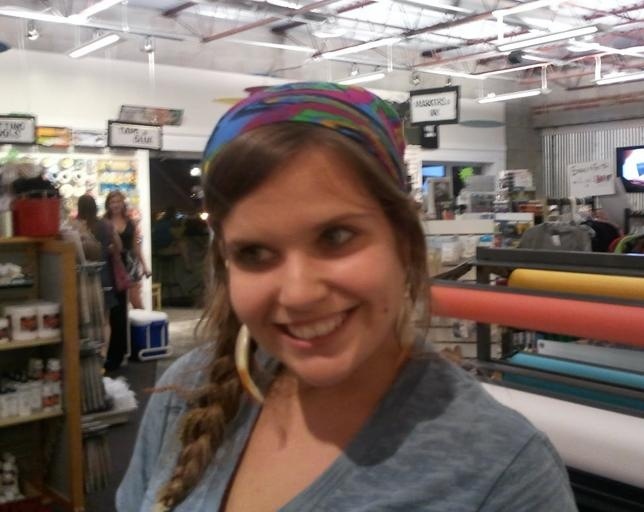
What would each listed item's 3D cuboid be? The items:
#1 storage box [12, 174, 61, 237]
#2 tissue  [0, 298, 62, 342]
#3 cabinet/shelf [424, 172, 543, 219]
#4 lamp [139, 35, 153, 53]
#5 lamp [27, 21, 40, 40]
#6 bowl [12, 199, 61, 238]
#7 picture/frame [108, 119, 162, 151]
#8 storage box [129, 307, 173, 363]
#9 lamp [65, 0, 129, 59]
[{"bbox_3d":[-1.956,-0.298,3.337,0.376,0.307,0.327,-6,6,-26],"label":"storage box"},{"bbox_3d":[-1.846,0.401,3.119,0.308,0.150,0.265,-1,0,3],"label":"tissue "},{"bbox_3d":[2.712,-1.017,8.201,1.700,0.577,1.121,0,4,11],"label":"cabinet/shelf"},{"bbox_3d":[-3.165,-3.822,8.893,0.186,0.219,0.087,6,4,32],"label":"lamp"},{"bbox_3d":[-4.623,-3.578,7.852,0.173,0.284,0.283,-4,5,-26],"label":"lamp"},{"bbox_3d":[-1.958,-0.260,3.335,0.373,0.211,0.326,-3,2,-27],"label":"bowl"},{"bbox_3d":[-3.249,-2.067,8.476,1.031,0.548,0.214,-4,5,-24],"label":"picture/frame"},{"bbox_3d":[-2.414,1.126,6.881,0.608,0.483,0.734,0,5,-33],"label":"storage box"},{"bbox_3d":[-3.710,-3.677,8.031,1.656,0.419,0.187,-15,-4,40],"label":"lamp"}]
